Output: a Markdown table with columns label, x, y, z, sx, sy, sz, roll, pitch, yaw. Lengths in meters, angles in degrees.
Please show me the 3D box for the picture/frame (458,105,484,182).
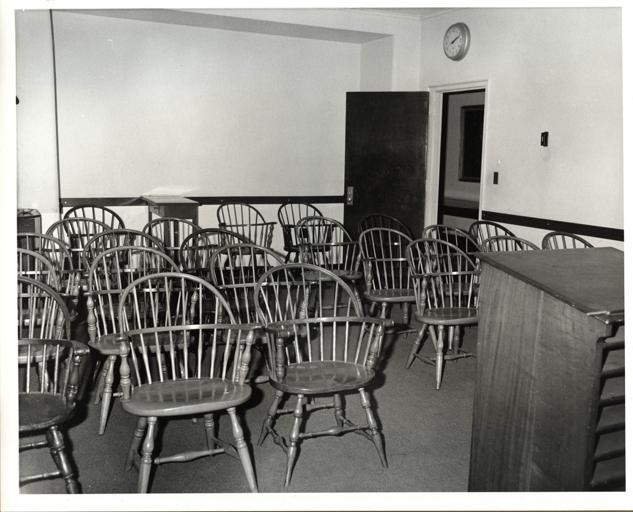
| label | x | y | z | sx | sy | sz | roll | pitch | yaw |
| --- | --- | --- | --- | --- | --- | --- | --- | --- | --- |
| picture/frame | 1.740 | -1.225 | 5.656 | 0.079 | 0.807 | 0.450 | 0 | 6 | -16 |
